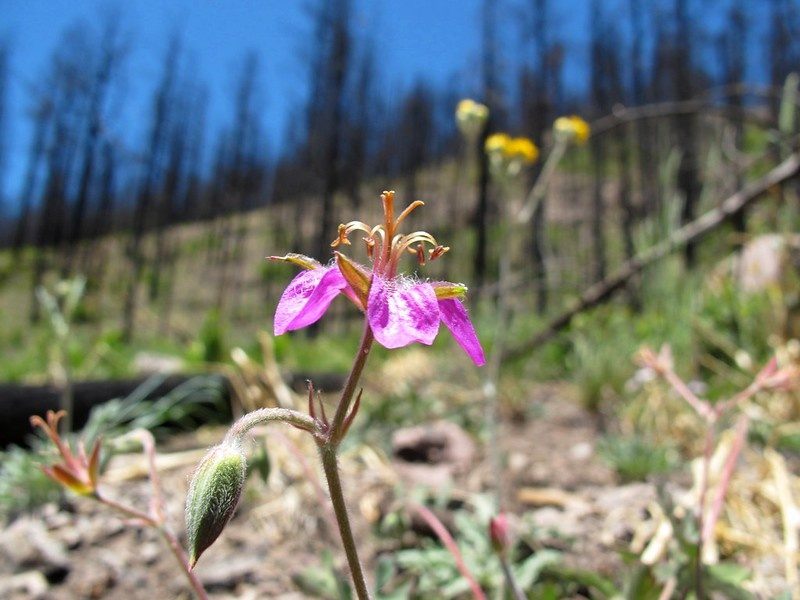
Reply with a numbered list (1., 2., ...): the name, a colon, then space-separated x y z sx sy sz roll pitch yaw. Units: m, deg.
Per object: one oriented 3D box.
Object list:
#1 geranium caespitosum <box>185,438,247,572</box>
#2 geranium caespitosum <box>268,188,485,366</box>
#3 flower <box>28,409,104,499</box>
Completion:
1. geranium caespitosum: -0.599 0.649 2.687 0.156 0.170 0.472 -9 36 15
2. geranium caespitosum: -0.030 -0.113 2.870 0.731 0.532 0.684 7 3 33
3. flower: -1.276 0.547 3.021 0.208 0.328 0.528 -5 12 -29
